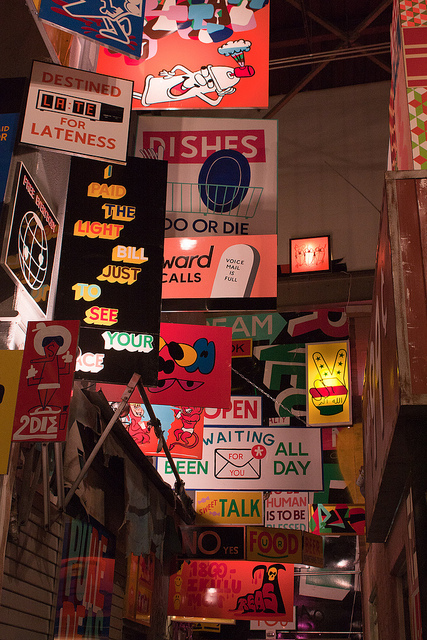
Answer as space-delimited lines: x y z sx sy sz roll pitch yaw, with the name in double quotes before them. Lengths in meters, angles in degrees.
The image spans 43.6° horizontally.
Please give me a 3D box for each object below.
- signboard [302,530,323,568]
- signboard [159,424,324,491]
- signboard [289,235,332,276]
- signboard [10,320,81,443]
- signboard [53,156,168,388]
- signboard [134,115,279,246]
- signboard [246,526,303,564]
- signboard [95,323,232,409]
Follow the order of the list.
"signboard" 1.638 3.783 8.786 0.151 0.585 0.873 -5 -14 28
"signboard" 0.459 2.151 8.205 1.690 0.953 0.197 -2 -32 7
"signboard" 2.488 -1.626 13.741 0.836 0.959 0.093 -4 -19 16
"signboard" -0.814 0.284 2.590 0.264 0.607 0.282 4 -12 -12
"signboard" -0.816 -0.411 4.172 0.716 2.136 0.163 11 -30 -23
"signboard" -0.057 -1.310 5.208 1.242 1.347 0.146 1 -22 1
"signboard" 0.948 3.507 8.327 1.045 0.544 0.169 8 -13 -25
"signboard" -0.419 0.411 4.556 0.756 0.632 0.015 0 -24 3
